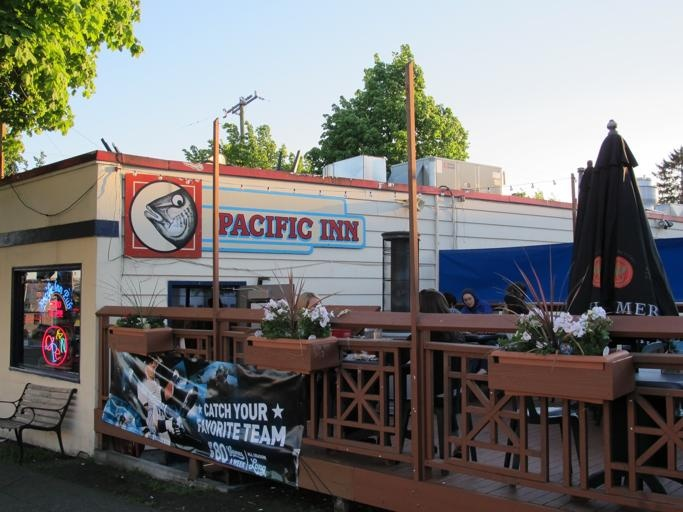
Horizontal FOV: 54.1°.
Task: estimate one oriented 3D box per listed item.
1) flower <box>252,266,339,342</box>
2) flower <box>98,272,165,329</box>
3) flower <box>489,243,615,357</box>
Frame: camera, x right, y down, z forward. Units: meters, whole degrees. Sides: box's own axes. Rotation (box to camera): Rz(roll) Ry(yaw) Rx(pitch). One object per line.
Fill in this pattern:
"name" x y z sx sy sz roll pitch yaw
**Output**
"flower" -0.463 0.546 7.100 0.701 0.651 0.862 3 -4 -34
"flower" -2.748 0.672 9.066 0.712 0.616 0.811 11 6 -17
"flower" 1.792 0.277 5.671 0.985 0.969 0.633 0 2 42
